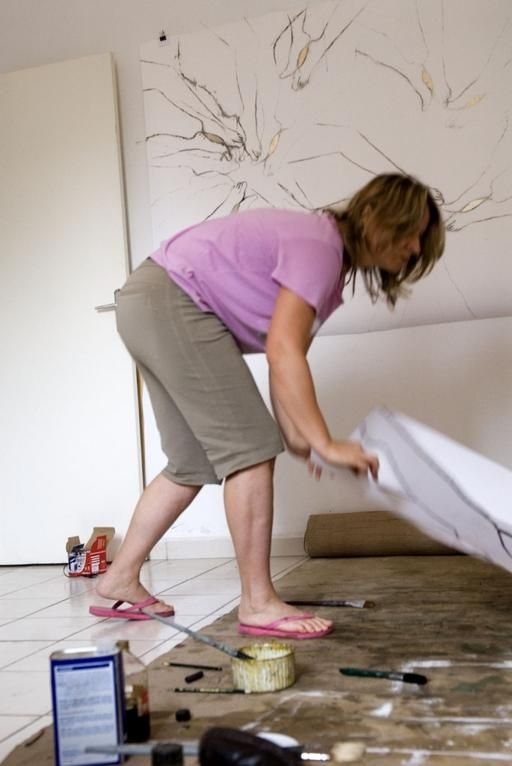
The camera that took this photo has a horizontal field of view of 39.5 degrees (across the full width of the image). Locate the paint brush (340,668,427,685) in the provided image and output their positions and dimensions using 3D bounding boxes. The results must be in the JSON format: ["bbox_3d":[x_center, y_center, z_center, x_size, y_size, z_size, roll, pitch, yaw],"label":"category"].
[{"bbox_3d":[0.200,0.460,1.120,0.111,0.017,0.017,-4,22,12],"label":"paint brush"}]

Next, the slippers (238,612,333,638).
[{"bbox_3d":[0.058,0.471,1.428,0.125,0.022,0.066,-2,-1,15],"label":"slippers"}]

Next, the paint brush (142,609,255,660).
[{"bbox_3d":[-0.113,0.507,1.436,0.161,0.016,0.153,25,-15,-6],"label":"paint brush"}]

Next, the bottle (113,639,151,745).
[{"bbox_3d":[-0.164,0.401,0.953,0.033,0.161,0.101,-7,25,-9],"label":"bottle"}]

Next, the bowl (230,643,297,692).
[{"bbox_3d":[0.013,0.453,1.145,0.103,0.047,0.104,-2,-6,0],"label":"bowl"}]

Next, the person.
[{"bbox_3d":[-0.034,0.129,1.592,0.740,1.124,0.569,7,26,20],"label":"person"}]
